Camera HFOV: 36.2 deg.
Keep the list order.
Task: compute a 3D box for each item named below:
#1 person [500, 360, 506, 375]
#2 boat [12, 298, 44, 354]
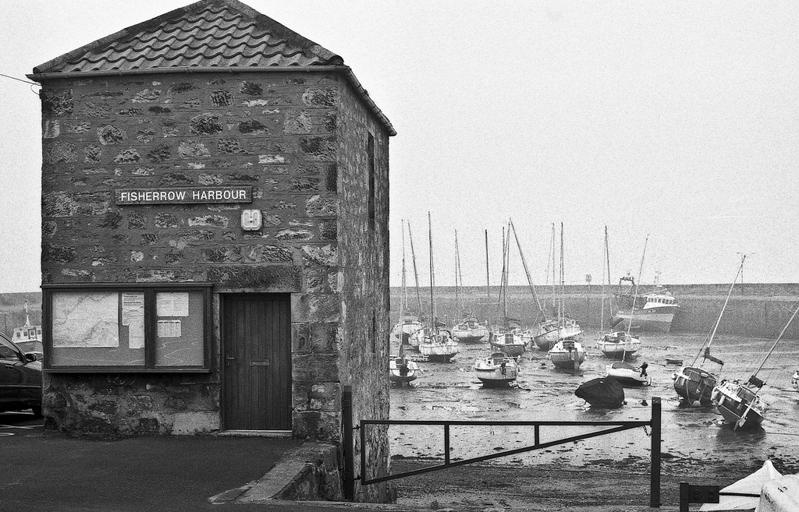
[{"bbox_3d":[5.318,5.697,62.318,0.285,0.663,0.519,-1,-3,4],"label":"person"},{"bbox_3d":[-23.392,4.272,76.911,1.357,2.559,4.028,-3,12,-21],"label":"boat"}]
